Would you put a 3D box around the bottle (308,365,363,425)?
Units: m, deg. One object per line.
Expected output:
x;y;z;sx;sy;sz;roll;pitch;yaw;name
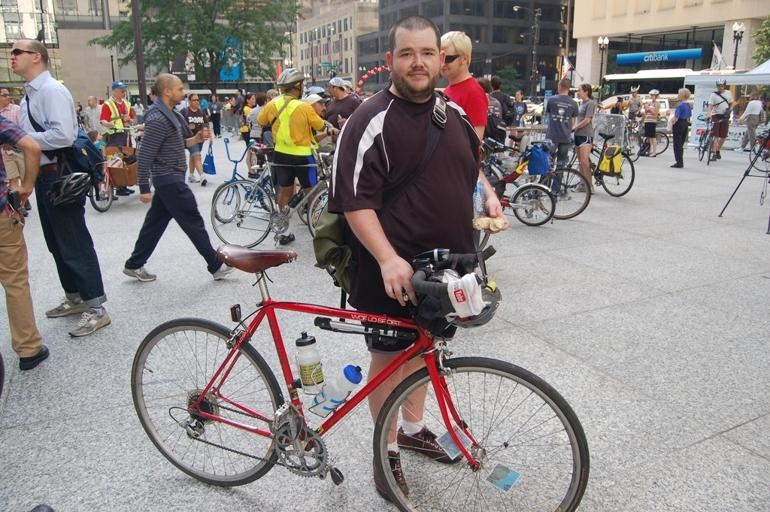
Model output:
-0.303;0.839;3.453;0.128;0.372;0.209;42;5;31;bottle

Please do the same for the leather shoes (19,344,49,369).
-3.152;0.916;5.134;0.098;0.125;0.284;4;14;5;leather shoes

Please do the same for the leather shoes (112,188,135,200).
-5.774;-1.370;12.490;0.530;0.233;0.175;-10;14;-30;leather shoes

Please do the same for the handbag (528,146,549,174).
2.595;-1.614;9.604;0.416;0.591;0.313;-3;7;-1;handbag

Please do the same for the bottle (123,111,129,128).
-6.548;-3.432;14.315;0.107;0.351;0.251;-6;6;-3;bottle

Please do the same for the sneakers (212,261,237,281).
-1.860;0.176;6.497;0.147;0.167;0.356;8;24;26;sneakers

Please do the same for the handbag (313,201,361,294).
-0.370;-0.028;3.509;0.180;0.468;0.352;-3;20;-33;handbag

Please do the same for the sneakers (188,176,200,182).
-4.885;-1.961;14.544;0.326;0.148;0.179;9;17;32;sneakers

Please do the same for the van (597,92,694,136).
12.487;-7.028;28.164;2.705;2.420;4.619;-15;23;-2;van

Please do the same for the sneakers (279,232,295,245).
-1.517;-0.268;8.774;0.100;0.121;0.304;9;18;16;sneakers

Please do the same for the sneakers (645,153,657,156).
8.962;-3.397;19.017;0.305;0.136;0.117;5;12;21;sneakers

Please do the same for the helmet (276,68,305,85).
-1.439;-2.704;8.577;0.367;0.153;0.271;-9;25;7;helmet

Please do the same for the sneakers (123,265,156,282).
-3.028;0.242;7.063;0.409;0.197;0.173;10;25;-26;sneakers

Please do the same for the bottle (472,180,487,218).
0.614;-0.362;3.655;0.086;0.209;0.177;4;20;9;bottle

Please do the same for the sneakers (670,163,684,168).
8.459;-2.620;16.413;0.119;0.146;0.355;-11;16;-27;sneakers

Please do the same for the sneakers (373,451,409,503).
0.041;1.408;3.635;0.165;0.285;0.447;-2;-6;-22;sneakers
